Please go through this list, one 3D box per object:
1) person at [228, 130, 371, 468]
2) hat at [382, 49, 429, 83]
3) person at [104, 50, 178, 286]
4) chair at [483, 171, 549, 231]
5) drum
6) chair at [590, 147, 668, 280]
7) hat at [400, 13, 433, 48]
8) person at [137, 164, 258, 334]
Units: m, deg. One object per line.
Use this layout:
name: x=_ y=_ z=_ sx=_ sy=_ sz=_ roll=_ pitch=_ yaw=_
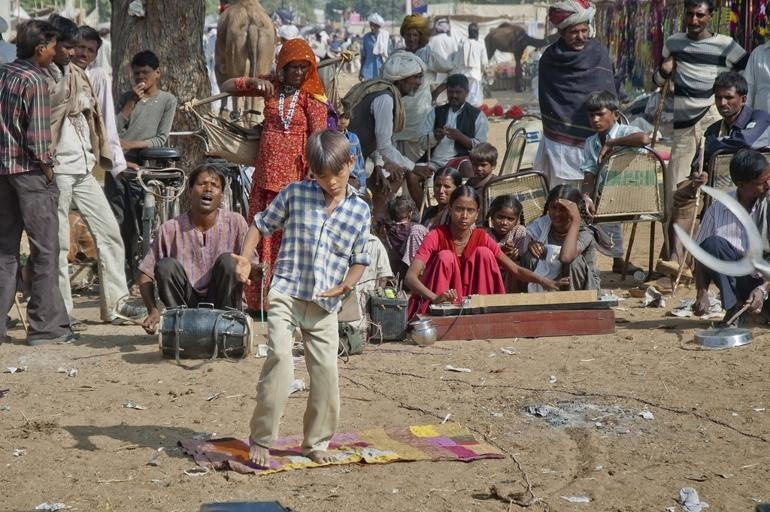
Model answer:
person: x=-0.594 y=0.265 z=6.930 sx=1.060 sy=2.226 sz=0.845 roll=3 pitch=5 yaw=-25
hat: x=0.213 y=-2.146 z=11.301 sx=0.413 sy=0.242 sz=0.372 roll=-3 pitch=9 yaw=18
person: x=-2.599 y=-0.902 z=10.509 sx=0.805 sy=2.355 sz=0.726 roll=2 pitch=5 yaw=9
chair: x=1.306 y=-0.536 z=9.911 sx=0.443 sy=0.607 sz=1.377 roll=2 pitch=-2 yaw=1
drum: x=-1.556 y=0.664 z=8.587 sx=0.777 sy=0.449 sz=0.446 roll=2 pitch=-3 yaw=7
chair: x=2.577 y=-0.476 z=10.465 sx=0.714 sy=1.522 sz=0.912 roll=1 pitch=1 yaw=2
hat: x=0.419 y=-3.020 z=13.200 sx=0.372 sy=0.397 sz=0.436 roll=3 pitch=7 yaw=4
person: x=-1.715 y=0.003 z=8.873 sx=0.818 sy=1.693 sz=0.906 roll=-1 pitch=5 yaw=-24
